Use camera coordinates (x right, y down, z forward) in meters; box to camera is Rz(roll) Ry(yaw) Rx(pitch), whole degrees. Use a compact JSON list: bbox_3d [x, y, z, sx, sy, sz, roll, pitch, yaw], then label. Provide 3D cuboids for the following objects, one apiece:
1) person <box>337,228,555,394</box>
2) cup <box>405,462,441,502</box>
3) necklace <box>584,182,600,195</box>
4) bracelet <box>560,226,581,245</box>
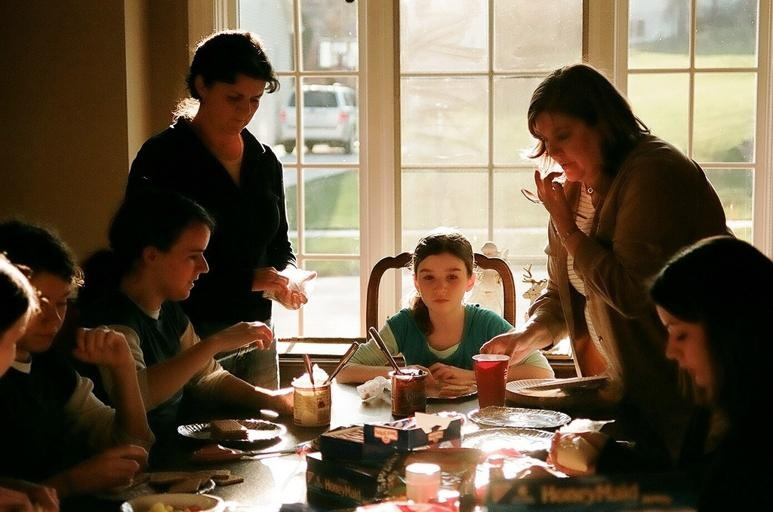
[{"bbox_3d":[0.259,0.188,2.823,0.996,0.777,0.568,1,-12,6],"label":"person"},{"bbox_3d":[0.085,0.522,1.559,0.075,0.071,0.073,0,-1,0],"label":"cup"},{"bbox_3d":[0.727,-0.249,2.430,0.037,0.040,0.047,5,30,-48],"label":"necklace"},{"bbox_3d":[0.623,-0.067,2.301,0.055,0.016,0.056,-15,5,0],"label":"bracelet"}]
